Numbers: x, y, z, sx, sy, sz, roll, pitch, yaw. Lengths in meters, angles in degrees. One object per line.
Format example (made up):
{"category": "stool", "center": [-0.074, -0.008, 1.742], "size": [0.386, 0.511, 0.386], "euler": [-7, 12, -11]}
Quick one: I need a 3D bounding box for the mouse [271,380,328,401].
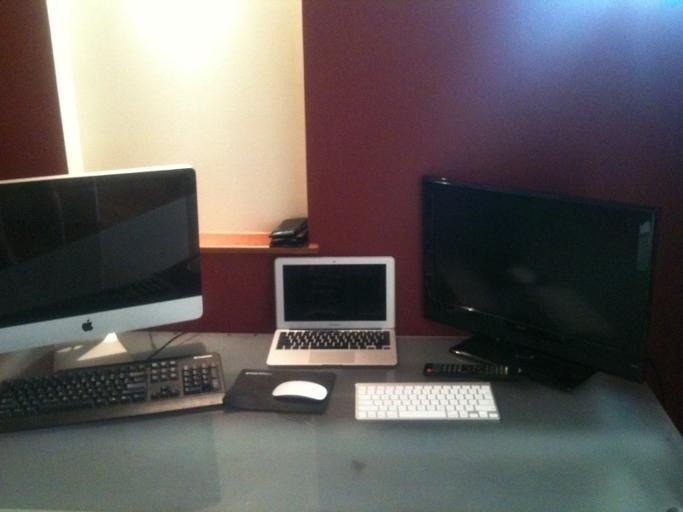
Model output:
{"category": "mouse", "center": [-0.122, 0.383, 1.670], "size": [0.136, 0.035, 0.067], "euler": [3, 13, 3]}

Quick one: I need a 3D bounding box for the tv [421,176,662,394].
{"category": "tv", "center": [0.620, 0.078, 1.748], "size": [0.565, 0.452, 0.221], "euler": [15, 27, 40]}

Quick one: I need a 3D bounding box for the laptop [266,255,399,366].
{"category": "laptop", "center": [-0.022, 0.183, 1.978], "size": [0.441, 0.312, 0.342], "euler": [0, 29, 1]}
